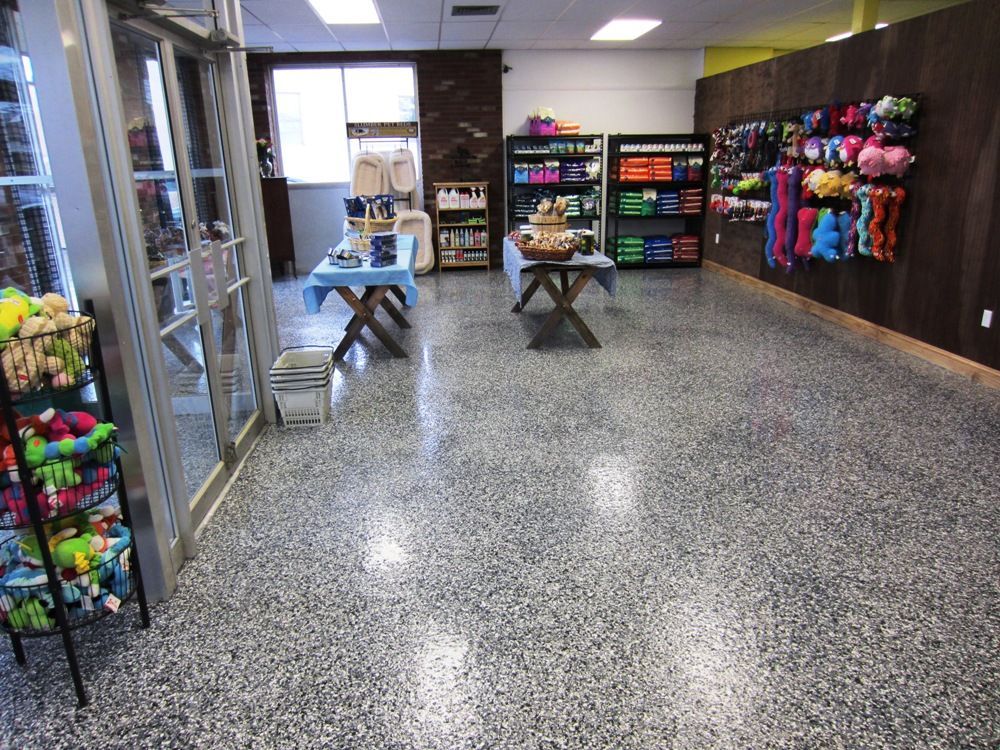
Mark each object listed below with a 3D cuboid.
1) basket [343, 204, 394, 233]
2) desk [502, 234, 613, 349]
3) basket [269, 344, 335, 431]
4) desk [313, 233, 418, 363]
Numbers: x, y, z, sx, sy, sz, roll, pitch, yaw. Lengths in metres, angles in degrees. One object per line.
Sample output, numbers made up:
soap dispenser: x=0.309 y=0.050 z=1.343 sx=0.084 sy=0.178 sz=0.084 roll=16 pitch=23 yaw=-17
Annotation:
basket: x=-1.344 y=-1.563 z=6.978 sx=0.476 sy=0.185 sz=0.337 roll=10 pitch=19 yaw=44
desk: x=0.697 y=-0.722 z=6.761 sx=0.909 sy=0.832 sz=1.614 roll=6 pitch=8 yaw=10
basket: x=-1.383 y=0.086 z=4.735 sx=0.398 sy=0.449 sz=0.441 roll=-6 pitch=20 yaw=-4
desk: x=-1.218 y=-0.656 z=6.159 sx=0.580 sy=0.507 sz=1.374 roll=-2 pitch=23 yaw=-5
